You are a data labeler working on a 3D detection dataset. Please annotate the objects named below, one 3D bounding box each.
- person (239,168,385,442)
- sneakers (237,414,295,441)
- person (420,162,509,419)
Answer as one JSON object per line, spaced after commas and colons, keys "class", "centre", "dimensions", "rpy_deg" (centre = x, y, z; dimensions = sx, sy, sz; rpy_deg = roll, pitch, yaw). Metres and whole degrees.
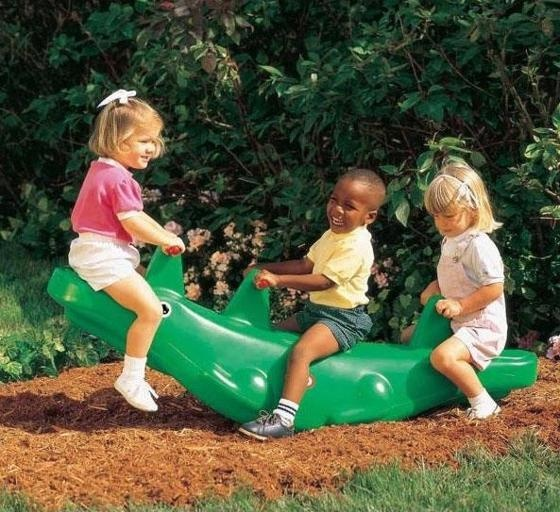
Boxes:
{"class": "person", "centre": [0.168, 0.209, 3.623], "dimensions": [0.582, 1.256, 0.972], "rpy_deg": [0, 17, 20]}
{"class": "sneakers", "centre": [-0.060, 0.816, 3.404], "dimensions": [0.308, 0.078, 0.109], "rpy_deg": [4, 10, -12]}
{"class": "person", "centre": [0.921, 0.158, 3.631], "dimensions": [0.425, 1.244, 0.674], "rpy_deg": [-3, 17, 12]}
